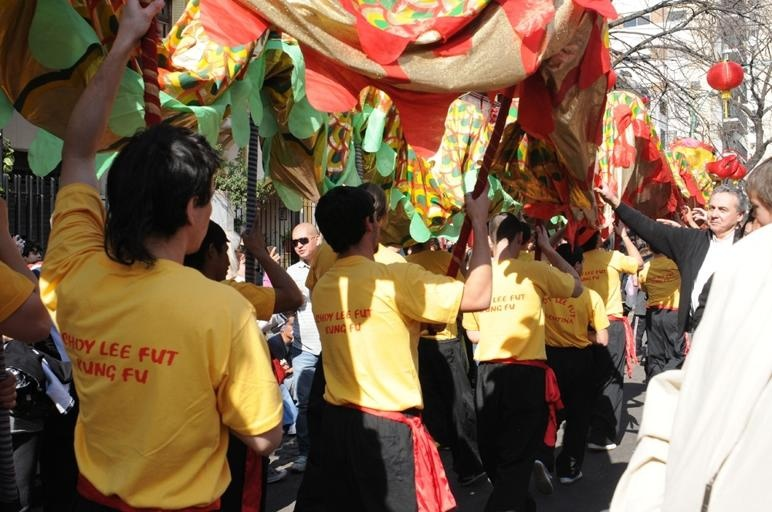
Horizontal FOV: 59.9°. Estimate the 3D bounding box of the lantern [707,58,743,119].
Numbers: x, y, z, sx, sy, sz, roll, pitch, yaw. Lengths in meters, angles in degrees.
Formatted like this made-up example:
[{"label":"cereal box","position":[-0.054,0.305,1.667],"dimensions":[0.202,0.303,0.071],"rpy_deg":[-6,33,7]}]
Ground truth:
[{"label":"lantern","position":[5.316,-2.642,10.569],"dimensions":[0.467,0.858,1.601],"rpy_deg":[3,-2,25]}]
